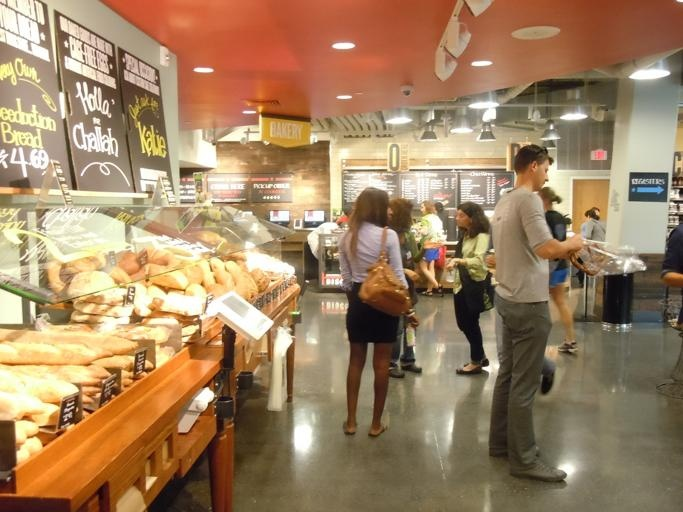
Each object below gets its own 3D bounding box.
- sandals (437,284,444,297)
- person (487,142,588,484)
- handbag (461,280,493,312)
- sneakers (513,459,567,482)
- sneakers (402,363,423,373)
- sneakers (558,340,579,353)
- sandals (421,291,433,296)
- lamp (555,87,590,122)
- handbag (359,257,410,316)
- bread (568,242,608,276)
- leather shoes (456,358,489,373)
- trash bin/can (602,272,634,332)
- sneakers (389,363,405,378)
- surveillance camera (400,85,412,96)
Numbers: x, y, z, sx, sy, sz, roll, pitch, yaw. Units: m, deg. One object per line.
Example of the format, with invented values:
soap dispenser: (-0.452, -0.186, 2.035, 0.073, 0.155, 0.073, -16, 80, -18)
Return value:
sandals: (1.898, 0.674, 9.464, 0.087, 0.242, 0.099, -5, 9, 3)
person: (1.197, 0.331, 3.128, 0.390, 2.072, 0.573, -2, 6, -9)
handbag: (1.370, 0.382, 4.764, 0.180, 0.243, 0.131, -1, 9, 25)
sneakers: (1.227, 1.325, 3.094, 0.335, 0.125, 0.118, -1, 1, 8)
sneakers: (0.725, 1.149, 5.036, 0.217, 0.088, 0.073, -1, 0, 16)
sneakers: (2.567, 1.040, 5.636, 0.239, 0.113, 0.103, 3, 4, 28)
sandals: (1.649, 0.727, 9.488, 0.167, 0.061, 0.083, 4, 2, -3)
lamp: (4.727, -3.099, 10.099, 0.577, 0.586, 0.610, -4, 22, 11)
handbag: (0.329, 0.216, 3.439, 0.350, 0.424, 0.197, 3, -16, 20)
bread: (1.690, 0.007, 3.309, 0.182, 0.079, 0.233, -25, 38, -15)
leather shoes: (1.328, 1.105, 5.009, 0.289, 0.104, 0.145, 2, -5, -22)
trash bin/can: (3.734, 0.615, 6.689, 0.350, 0.733, 0.396, 2, 7, 27)
sneakers: (0.548, 1.157, 4.931, 0.220, 0.136, 0.082, -6, -7, 42)
surveillance camera: (0.787, -1.990, 5.940, 0.096, 0.075, 0.092, 0, 1, -8)
